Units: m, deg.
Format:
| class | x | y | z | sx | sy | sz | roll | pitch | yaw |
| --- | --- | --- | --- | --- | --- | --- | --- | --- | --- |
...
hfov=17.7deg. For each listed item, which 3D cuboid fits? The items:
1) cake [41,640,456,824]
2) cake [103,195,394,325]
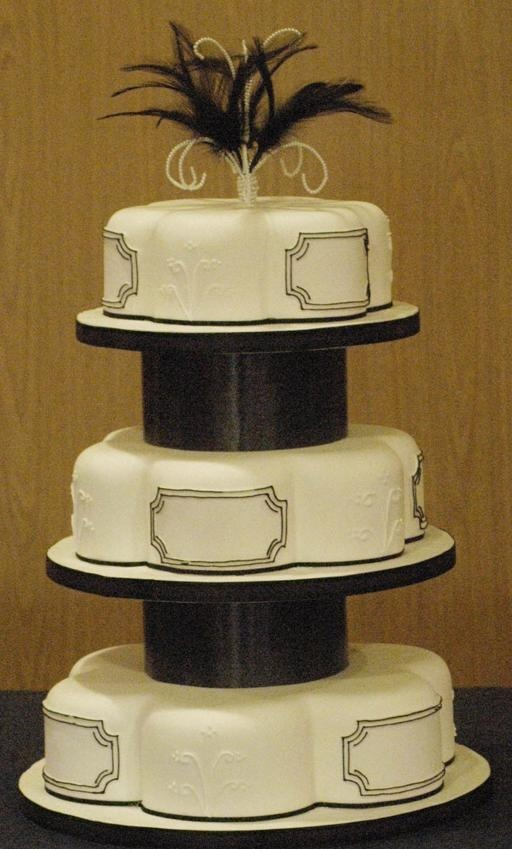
| class | x | y | z | sx | sy | sz | roll | pitch | yaw |
| --- | --- | --- | --- | --- | --- | --- | --- | --- | --- |
| cake | -0.003 | 0.658 | 3.488 | 0.845 | 0.209 | 0.864 | 2 | -5 | -43 |
| cake | -0.008 | -0.300 | 3.109 | 0.564 | 0.221 | 0.360 | 1 | 14 | -6 |
